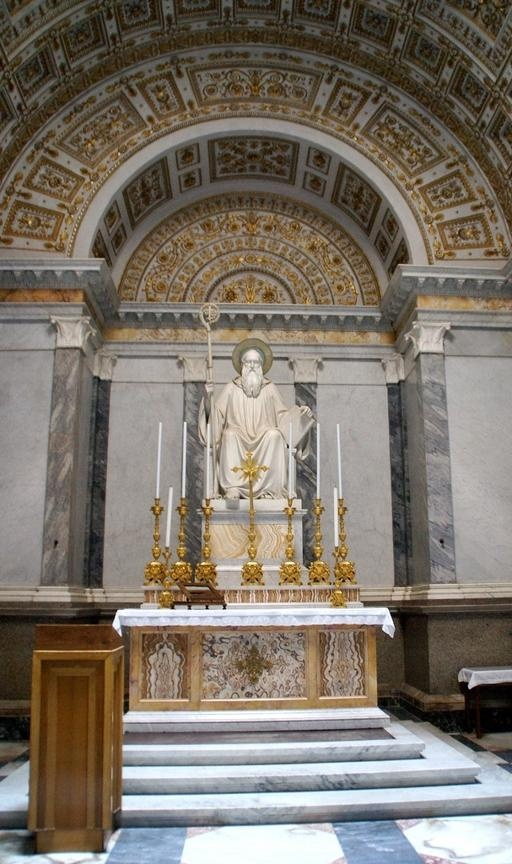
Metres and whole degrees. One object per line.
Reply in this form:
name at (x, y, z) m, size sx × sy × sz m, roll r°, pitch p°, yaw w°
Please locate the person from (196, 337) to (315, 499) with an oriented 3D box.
person at (-0.002, -0.180, 6.922) m, size 1.057 × 1.924 × 0.878 m, roll 8°, pitch -16°, yaw -37°
